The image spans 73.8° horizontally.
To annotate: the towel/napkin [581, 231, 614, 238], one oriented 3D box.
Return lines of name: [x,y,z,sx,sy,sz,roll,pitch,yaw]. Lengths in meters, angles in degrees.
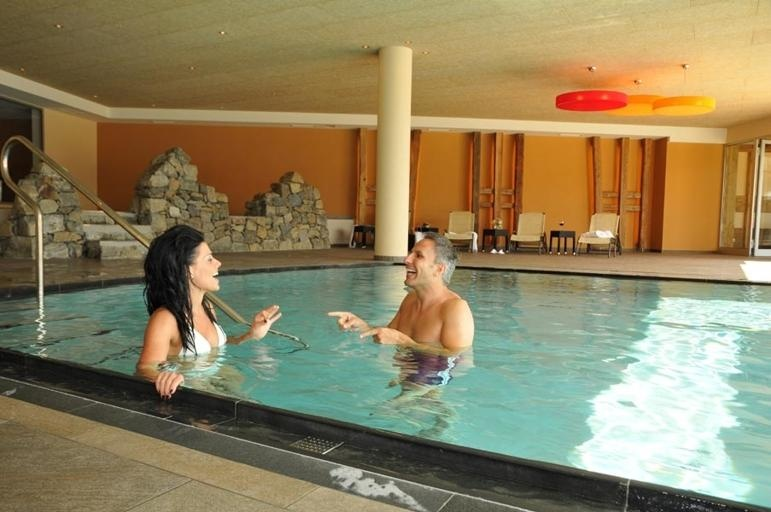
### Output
towel/napkin: [5.006,-0.497,12.174,0.671,0.164,0.362,0,2,18]

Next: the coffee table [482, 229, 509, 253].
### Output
coffee table: [3.067,-0.461,14.251,0.742,0.618,1.612,0,2,10]

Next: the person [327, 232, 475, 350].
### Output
person: [0.207,0.255,3.494,0.583,0.807,0.451,2,4,41]

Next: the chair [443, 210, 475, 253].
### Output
chair: [2.065,-0.747,13.909,1.322,1.030,1.363,1,13,8]

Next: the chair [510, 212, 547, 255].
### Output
chair: [4.030,-0.714,14.047,1.261,0.848,1.649,0,5,23]

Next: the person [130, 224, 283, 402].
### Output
person: [-1.097,0.275,3.103,0.590,0.917,0.910,-1,3,10]
